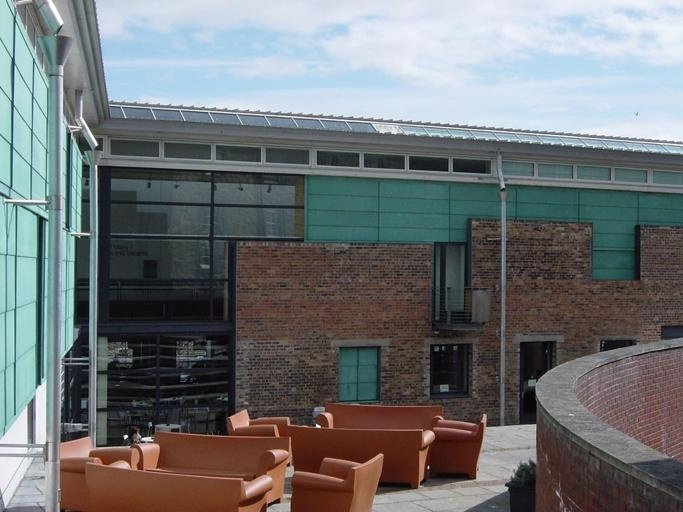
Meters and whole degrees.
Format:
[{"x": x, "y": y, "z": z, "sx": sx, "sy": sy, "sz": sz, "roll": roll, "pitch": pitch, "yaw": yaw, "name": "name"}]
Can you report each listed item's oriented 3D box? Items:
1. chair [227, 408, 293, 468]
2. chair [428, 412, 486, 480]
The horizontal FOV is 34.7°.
[{"x": -2.094, "y": 4.755, "z": 28.458, "sx": 1.418, "sy": 1.166, "sz": 1.432, "roll": -2, "pitch": -3, "yaw": 8, "name": "chair"}, {"x": 3.203, "y": 4.900, "z": 28.034, "sx": 1.530, "sy": 1.631, "sz": 1.965, "roll": 2, "pitch": -7, "yaw": 8, "name": "chair"}]
